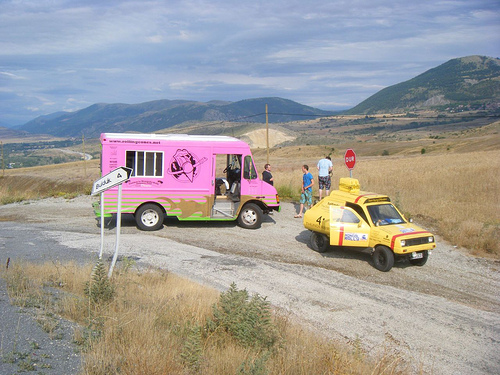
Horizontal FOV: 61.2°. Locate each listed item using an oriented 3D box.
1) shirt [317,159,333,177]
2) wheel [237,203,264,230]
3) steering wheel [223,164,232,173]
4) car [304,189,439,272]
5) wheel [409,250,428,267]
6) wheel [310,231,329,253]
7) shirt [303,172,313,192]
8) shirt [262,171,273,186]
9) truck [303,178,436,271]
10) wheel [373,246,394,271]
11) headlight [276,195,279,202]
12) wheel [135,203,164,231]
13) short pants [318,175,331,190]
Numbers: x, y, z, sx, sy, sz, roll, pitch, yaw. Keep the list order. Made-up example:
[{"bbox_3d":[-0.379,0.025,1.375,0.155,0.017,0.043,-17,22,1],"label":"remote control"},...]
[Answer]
[{"bbox_3d":[3.274,-0.858,18.780,0.555,0.788,0.376,1,4,10],"label":"shirt"},{"bbox_3d":[-0.038,1.106,16.368,0.881,0.993,0.378,1,7,4],"label":"wheel"},{"bbox_3d":[-0.937,-0.723,17.494,0.108,0.365,0.253,37,7,21],"label":"steering wheel"},{"bbox_3d":[3.647,1.250,13.120,2.600,1.654,2.918,-1,3,-42],"label":"car"},{"bbox_3d":[5.191,2.186,12.968,0.420,0.572,0.733,0,4,-1],"label":"wheel"},{"bbox_3d":[2.288,1.819,13.929,0.237,0.752,0.647,-2,7,-38],"label":"wheel"},{"bbox_3d":[2.419,-0.205,18.088,0.349,0.824,0.376,1,4,6],"label":"shirt"},{"bbox_3d":[0.777,-0.461,18.033,0.365,0.705,0.677,-12,17,-36],"label":"shirt"},{"bbox_3d":[3.644,1.150,13.280,2.637,2.179,3.332,-2,5,-41],"label":"truck"},{"bbox_3d":[3.951,2.120,12.566,0.226,0.777,0.652,2,8,-26],"label":"wheel"},{"bbox_3d":[1.023,0.442,16.446,0.060,0.247,0.061,3,5,35],"label":"headlight"},{"bbox_3d":[-3.760,1.075,15.768,1.016,1.143,0.382,-4,16,-12],"label":"wheel"},{"bbox_3d":[3.370,-0.187,19.093,0.902,0.553,0.659,4,-9,-42],"label":"short pants"}]
